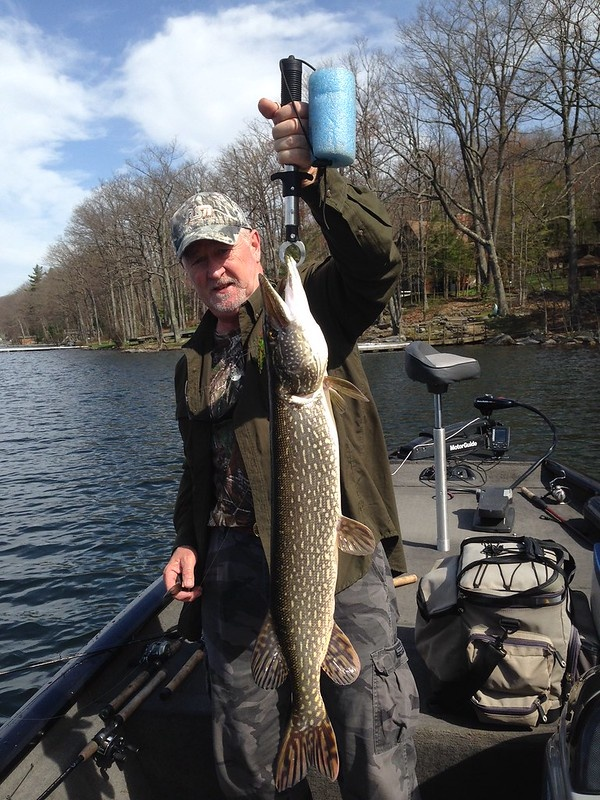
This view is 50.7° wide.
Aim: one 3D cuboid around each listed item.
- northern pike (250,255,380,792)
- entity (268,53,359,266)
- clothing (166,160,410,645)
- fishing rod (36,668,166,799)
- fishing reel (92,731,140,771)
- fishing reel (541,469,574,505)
[{"bbox_3d":[0.064,0.323,1.860,0.363,1.430,0.270,5,13,38],"label":"northern pike"},{"bbox_3d":[0.046,-0.671,1.736,0.254,0.589,0.336,-4,9,0],"label":"entity"},{"bbox_3d":[0.057,-0.104,2.021,0.514,1.511,0.821,2,-7,-19],"label":"clothing"},{"bbox_3d":[-0.876,1.465,2.858,0.113,0.065,0.787,21,24,13],"label":"fishing rod"},{"bbox_3d":[-0.815,1.548,2.807,0.185,0.076,0.147,4,-2,29],"label":"fishing reel"},{"bbox_3d":[2.158,0.745,5.321,0.120,0.329,0.246,26,-11,-29],"label":"fishing reel"}]
